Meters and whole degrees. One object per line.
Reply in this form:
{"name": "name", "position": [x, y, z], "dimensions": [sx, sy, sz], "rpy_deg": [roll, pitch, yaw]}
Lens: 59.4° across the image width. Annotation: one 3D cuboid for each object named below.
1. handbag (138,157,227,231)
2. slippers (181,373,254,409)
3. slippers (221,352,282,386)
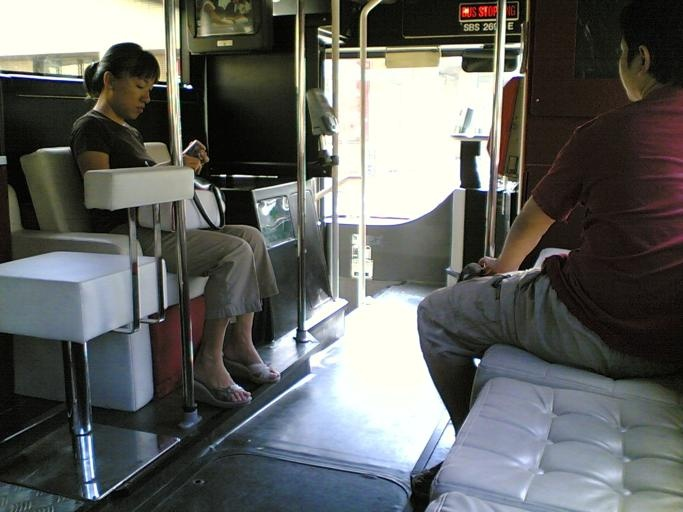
{"name": "handbag", "position": [-0.778, -0.223, 2.869], "dimensions": [0.390, 0.275, 0.318], "rpy_deg": [-1, 25, -42]}
{"name": "slippers", "position": [-0.553, 0.608, 2.723], "dimensions": [0.292, 0.092, 0.114], "rpy_deg": [4, 10, 13]}
{"name": "slippers", "position": [-0.435, 0.547, 2.968], "dimensions": [0.279, 0.078, 0.115], "rpy_deg": [7, 15, 22]}
